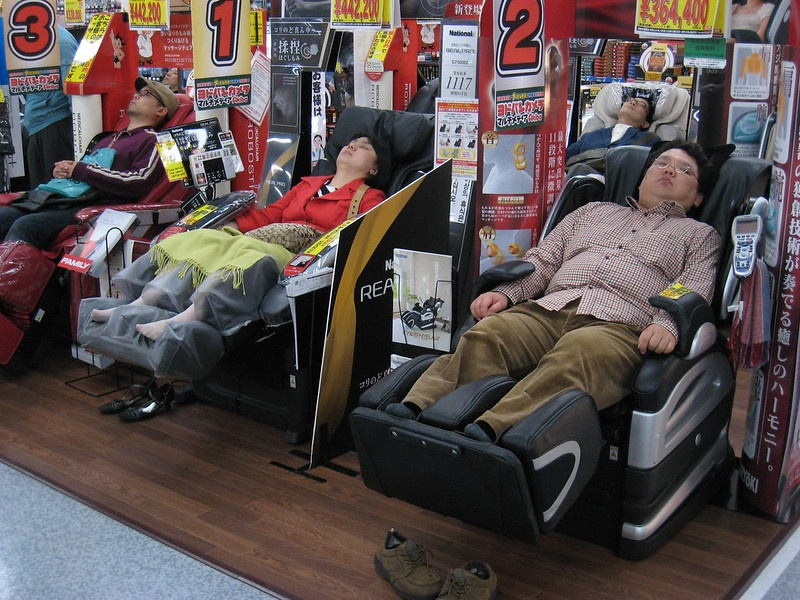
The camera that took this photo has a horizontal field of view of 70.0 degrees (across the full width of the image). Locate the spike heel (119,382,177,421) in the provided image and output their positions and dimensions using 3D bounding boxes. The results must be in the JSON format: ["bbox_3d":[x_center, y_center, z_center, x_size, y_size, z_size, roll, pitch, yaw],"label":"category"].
[{"bbox_3d":[-1.391,0.563,3.153,0.120,0.117,0.274,20,27,36],"label":"spike heel"}]

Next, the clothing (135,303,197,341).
[{"bbox_3d":[-1.088,0.108,2.655,0.270,0.139,0.199,-8,20,-25],"label":"clothing"}]

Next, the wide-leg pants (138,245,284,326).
[{"bbox_3d":[-0.934,-0.048,2.772,0.646,0.320,0.258,2,17,3],"label":"wide-leg pants"}]

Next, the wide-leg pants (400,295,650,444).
[{"bbox_3d":[0.467,0.203,2.168,0.704,0.449,0.617,20,26,40],"label":"wide-leg pants"}]

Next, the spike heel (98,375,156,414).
[{"bbox_3d":[-1.491,0.542,3.257,0.130,0.161,0.400,7,20,36],"label":"spike heel"}]
